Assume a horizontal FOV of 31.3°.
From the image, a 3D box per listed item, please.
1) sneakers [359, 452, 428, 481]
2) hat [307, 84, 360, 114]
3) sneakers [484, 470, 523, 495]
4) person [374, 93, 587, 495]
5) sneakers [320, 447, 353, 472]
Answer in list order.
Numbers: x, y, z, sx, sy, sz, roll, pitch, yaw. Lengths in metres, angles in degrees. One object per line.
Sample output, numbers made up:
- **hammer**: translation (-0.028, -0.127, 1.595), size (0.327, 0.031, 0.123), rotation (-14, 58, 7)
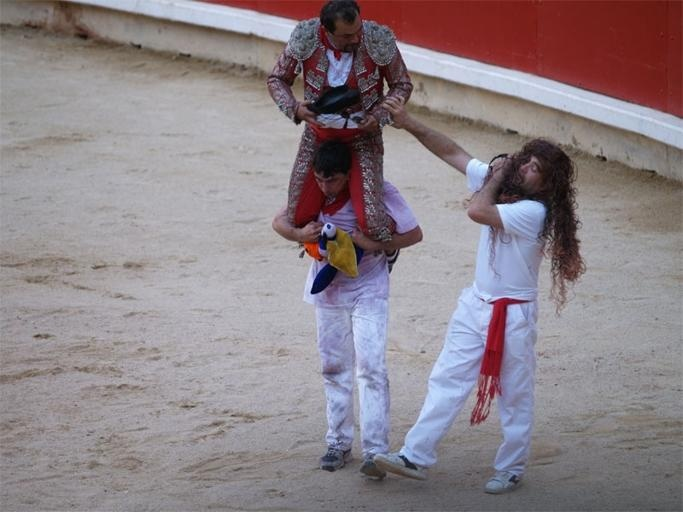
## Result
- **sneakers**: translation (0.373, 1.454, 8.451), size (0.441, 0.168, 0.178), rotation (17, -23, -8)
- **hat**: translation (-0.054, -1.088, 8.388), size (0.278, 0.099, 0.211), rotation (-34, 29, -12)
- **sneakers**: translation (1.124, 1.570, 8.458), size (0.298, 0.103, 0.116), rotation (-5, 23, -17)
- **person**: translation (1.045, 0.378, 8.473), size (1.156, 2.378, 1.021), rotation (10, 20, 3)
- **sneakers**: translation (-0.041, 1.449, 8.769), size (0.113, 0.108, 0.265), rotation (7, 7, 44)
